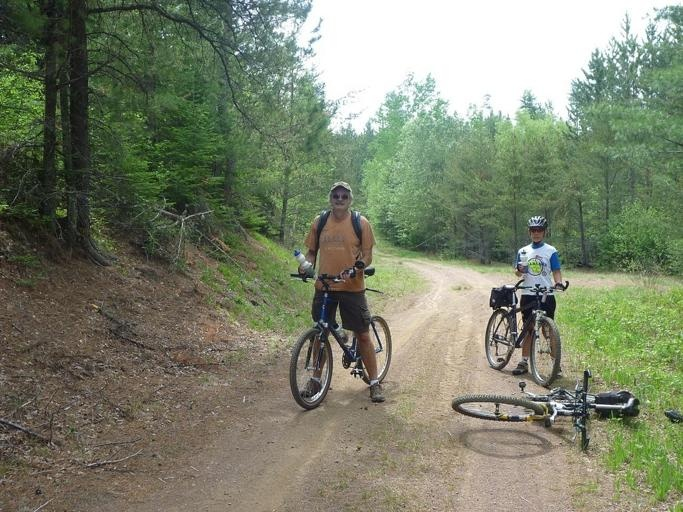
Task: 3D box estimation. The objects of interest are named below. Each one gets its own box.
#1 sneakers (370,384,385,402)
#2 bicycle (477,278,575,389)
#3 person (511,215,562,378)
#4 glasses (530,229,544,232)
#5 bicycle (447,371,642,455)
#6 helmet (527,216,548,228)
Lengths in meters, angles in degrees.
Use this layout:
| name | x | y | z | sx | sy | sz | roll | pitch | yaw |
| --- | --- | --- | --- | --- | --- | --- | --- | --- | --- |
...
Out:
| name | x | y | z | sx | sy | sz | roll | pitch | yaw |
| --- | --- | --- | --- | --- | --- | --- | --- | --- | --- |
| sneakers | 0.580 | 2.292 | 10.908 | 0.185 | 0.186 | 0.421 | 0 | -12 | -5 |
| bicycle | 3.436 | 1.292 | 12.690 | 1.975 | 1.282 | 0.756 | 11 | -7 | -29 |
| person | 3.647 | 0.760 | 12.215 | 0.831 | 2.958 | 0.605 | 1 | 3 | 17 |
| glasses | 3.643 | -0.487 | 12.123 | 0.266 | 0.063 | 0.114 | 1 | 3 | 11 |
| bicycle | 3.276 | 2.325 | 10.074 | 1.984 | 0.795 | 1.486 | -1 | -9 | 0 |
| helmet | 3.631 | -0.608 | 12.077 | 0.297 | 0.211 | 0.257 | 0 | 3 | 5 |
